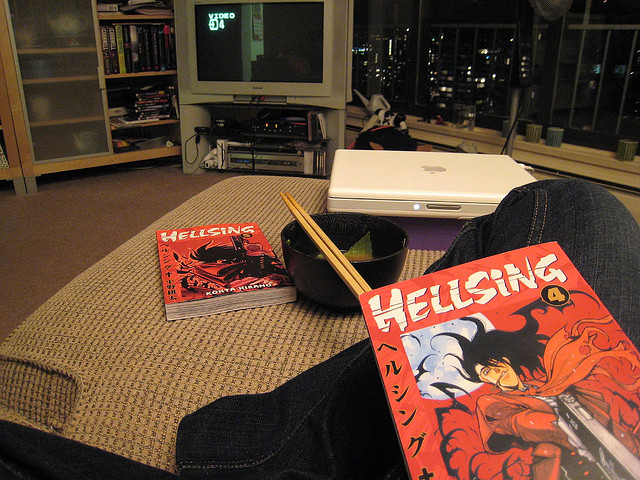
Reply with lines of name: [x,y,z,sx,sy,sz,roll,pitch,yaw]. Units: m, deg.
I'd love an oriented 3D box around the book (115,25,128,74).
book: [-1.417,-1.340,3.193,0.070,0.307,0.040,-8,27,-18]

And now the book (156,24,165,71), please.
book: [-1.188,-1.435,3.351,0.050,0.281,0.282,-5,17,-13]

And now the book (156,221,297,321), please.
book: [-0.161,0.035,0.728,0.183,0.025,0.252,-6,26,-18]

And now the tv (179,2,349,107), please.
tv: [-0.355,-1.158,3.302,1.325,0.918,0.673,3,30,3]

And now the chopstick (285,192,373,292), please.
chopstick: [0.016,0.003,0.639,0.019,0.019,0.365,-33,31,-4]

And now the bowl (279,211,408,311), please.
bowl: [0.039,0.031,0.629,0.169,0.097,0.165,1,22,0]
